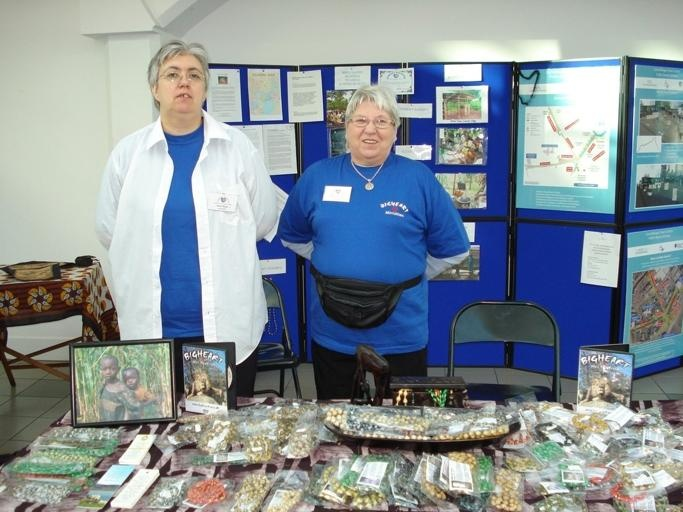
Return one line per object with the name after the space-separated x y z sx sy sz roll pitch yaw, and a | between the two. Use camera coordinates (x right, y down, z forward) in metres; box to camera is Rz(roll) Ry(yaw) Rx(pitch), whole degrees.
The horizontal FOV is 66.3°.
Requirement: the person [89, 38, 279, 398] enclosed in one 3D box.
-0.621 -0.129 2.175 0.730 1.439 0.413 -6 9 -20 | person

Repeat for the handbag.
0.105 0.192 2.319 0.482 0.249 0.192 -1 8 7 | handbag

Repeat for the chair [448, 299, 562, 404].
0.999 0.559 3.155 0.804 0.714 0.381 0 6 5 | chair

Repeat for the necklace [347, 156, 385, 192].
0.115 -0.358 2.304 0.190 0.219 0.020 0 -30 6 | necklace

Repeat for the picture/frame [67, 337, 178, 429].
-0.749 0.447 1.802 0.310 0.240 0.030 -3 5 -3 | picture/frame
